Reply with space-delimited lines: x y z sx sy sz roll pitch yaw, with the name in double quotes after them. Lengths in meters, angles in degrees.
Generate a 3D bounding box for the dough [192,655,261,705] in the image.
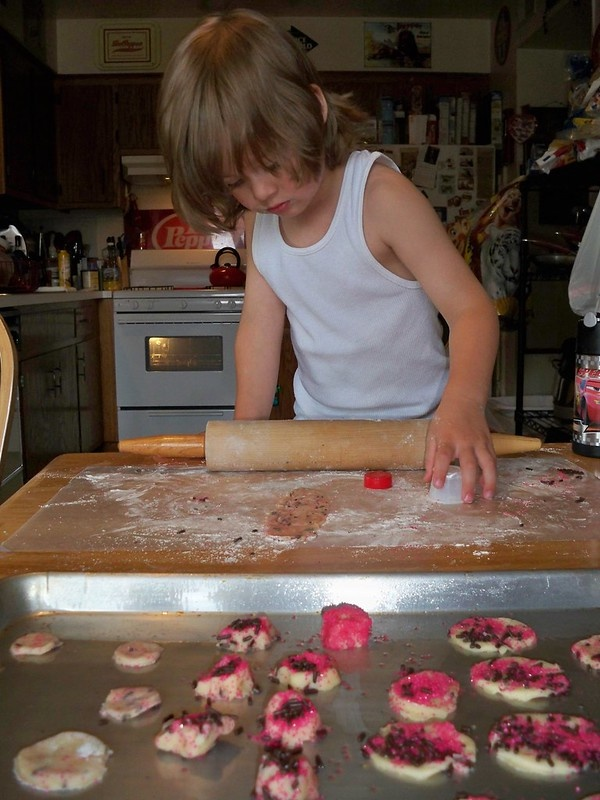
-0.052 0.200 0.510 0.035 0.010 0.032 6 11 24 "dough"

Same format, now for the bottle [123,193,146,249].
-1.051 -1.117 4.549 0.146 0.349 0.105 -7 13 -33 "bottle"

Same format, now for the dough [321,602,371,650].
0.040 0.177 0.571 0.035 0.021 0.032 -1 6 -5 "dough"

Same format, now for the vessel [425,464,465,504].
0.167 0.098 0.836 0.044 0.028 0.042 1 3 8 "vessel"

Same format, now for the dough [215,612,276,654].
-0.042 0.185 0.566 0.032 0.009 0.030 0 10 2 "dough"

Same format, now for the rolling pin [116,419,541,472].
0.044 0.064 0.984 0.587 0.068 0.075 0 11 2 "rolling pin"
